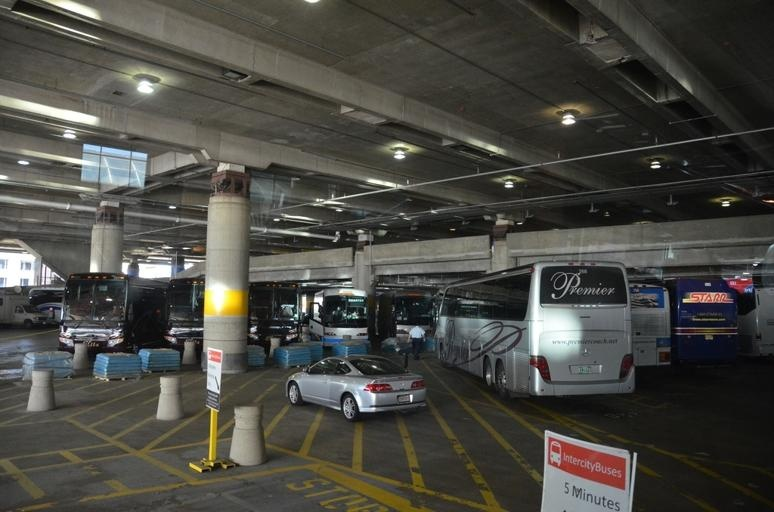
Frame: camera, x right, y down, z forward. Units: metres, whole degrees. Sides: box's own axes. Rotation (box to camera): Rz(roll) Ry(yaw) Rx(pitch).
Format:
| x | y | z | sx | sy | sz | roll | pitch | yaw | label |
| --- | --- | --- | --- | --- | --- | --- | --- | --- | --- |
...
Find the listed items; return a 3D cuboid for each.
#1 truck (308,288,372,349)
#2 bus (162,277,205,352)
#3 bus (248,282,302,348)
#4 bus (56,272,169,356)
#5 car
| x | y | z | sx | sy | sz | roll | pitch | yaw | label |
| --- | --- | --- | --- | --- | --- | --- | --- | --- | --- |
| -3.779 | 4.082 | 37.580 | 2.576 | 3.780 | 4.865 | 3 | -7 | -34 | truck |
| -11.993 | 3.379 | 32.252 | 2.138 | 3.961 | 1.580 | 0 | -6 | -9 | bus |
| -8.218 | 3.637 | 36.031 | 4.614 | 3.662 | 5.319 | 0 | -7 | -5 | bus |
| -14.593 | 3.170 | 30.937 | 3.304 | 4.252 | 7.484 | -2 | -6 | 13 | bus |
| -1.107 | 4.234 | 17.924 | 3.969 | 1.872 | 1.696 | -5 | -7 | 38 | car |
